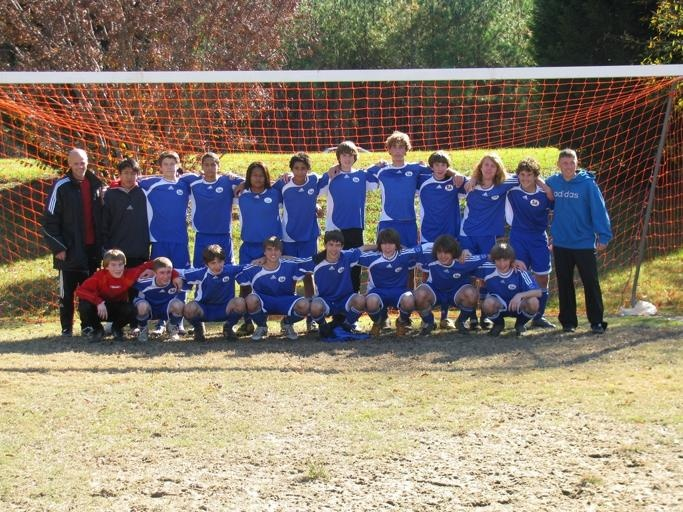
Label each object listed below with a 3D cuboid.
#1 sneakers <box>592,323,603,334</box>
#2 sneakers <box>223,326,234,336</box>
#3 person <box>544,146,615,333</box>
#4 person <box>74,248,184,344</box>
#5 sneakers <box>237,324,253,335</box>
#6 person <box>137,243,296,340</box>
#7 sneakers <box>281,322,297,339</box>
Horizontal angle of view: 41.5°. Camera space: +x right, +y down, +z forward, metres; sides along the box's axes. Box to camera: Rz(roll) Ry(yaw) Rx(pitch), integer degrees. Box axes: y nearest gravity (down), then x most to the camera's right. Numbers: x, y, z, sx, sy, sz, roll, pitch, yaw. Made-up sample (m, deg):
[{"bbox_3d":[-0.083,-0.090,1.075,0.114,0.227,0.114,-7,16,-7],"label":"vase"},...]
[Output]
[{"bbox_3d":[2.945,0.835,10.377,0.134,0.104,0.081,-4,1,8],"label":"sneakers"},{"bbox_3d":[-1.334,0.881,10.532,0.121,0.128,0.110,-5,-7,-10],"label":"sneakers"},{"bbox_3d":[2.758,-0.168,10.461,0.683,1.831,0.420,-3,1,16],"label":"person"},{"bbox_3d":[-2.637,0.456,10.455,0.866,1.062,0.516,-4,1,-15],"label":"person"},{"bbox_3d":[-1.163,0.894,10.797,0.207,0.094,0.090,0,2,-6],"label":"sneakers"},{"bbox_3d":[-1.468,0.443,10.475,1.463,1.091,0.503,-3,11,-17],"label":"person"},{"bbox_3d":[-0.636,0.862,10.652,0.107,0.138,0.307,-21,36,-37],"label":"sneakers"}]
